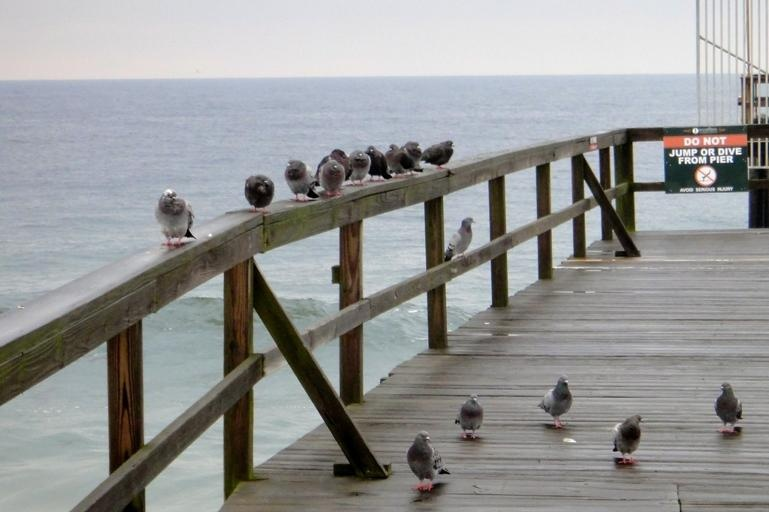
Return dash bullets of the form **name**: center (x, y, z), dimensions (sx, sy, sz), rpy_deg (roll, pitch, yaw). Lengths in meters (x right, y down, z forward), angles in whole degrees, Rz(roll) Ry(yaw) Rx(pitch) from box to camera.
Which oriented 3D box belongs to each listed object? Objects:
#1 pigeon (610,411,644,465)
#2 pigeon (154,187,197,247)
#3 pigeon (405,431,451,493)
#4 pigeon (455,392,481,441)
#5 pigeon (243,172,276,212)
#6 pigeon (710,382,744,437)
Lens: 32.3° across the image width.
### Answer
- **pigeon**: center (2.283, 1.712, 12.422), dimensions (0.275, 0.433, 0.374), rpy_deg (-2, 1, 9)
- **pigeon**: center (-1.797, -0.299, 11.819), dimensions (0.286, 0.555, 0.544), rpy_deg (0, 23, 8)
- **pigeon**: center (0.417, 1.871, 12.163), dimensions (0.390, 0.549, 0.271), rpy_deg (-3, 1, 0)
- **pigeon**: center (0.825, 1.531, 12.702), dimensions (0.273, 0.415, 0.300), rpy_deg (-3, 1, 3)
- **pigeon**: center (-1.159, -0.555, 12.439), dimensions (0.313, 0.317, 0.422), rpy_deg (2, -5, -22)
- **pigeon**: center (3.319, 1.448, 12.733), dimensions (0.269, 0.461, 0.397), rpy_deg (-2, 1, 14)
